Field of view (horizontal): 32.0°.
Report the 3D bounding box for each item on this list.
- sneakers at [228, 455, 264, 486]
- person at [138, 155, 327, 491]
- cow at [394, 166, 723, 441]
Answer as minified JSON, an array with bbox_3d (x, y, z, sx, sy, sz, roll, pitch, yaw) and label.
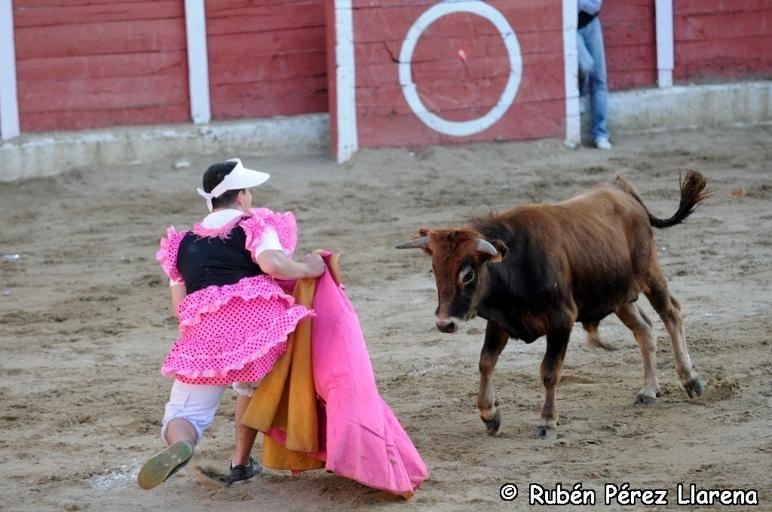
[{"bbox_3d":[-1.228,1.925,11.999,0.144,0.165,0.376,2,15,26],"label":"sneakers"},{"bbox_3d":[-1.351,0.619,11.670,1.476,2.860,0.787,-7,7,-5],"label":"person"},{"bbox_3d":[1.897,0.456,13.197,3.964,2.374,1.077,-10,6,-36],"label":"cow"}]
